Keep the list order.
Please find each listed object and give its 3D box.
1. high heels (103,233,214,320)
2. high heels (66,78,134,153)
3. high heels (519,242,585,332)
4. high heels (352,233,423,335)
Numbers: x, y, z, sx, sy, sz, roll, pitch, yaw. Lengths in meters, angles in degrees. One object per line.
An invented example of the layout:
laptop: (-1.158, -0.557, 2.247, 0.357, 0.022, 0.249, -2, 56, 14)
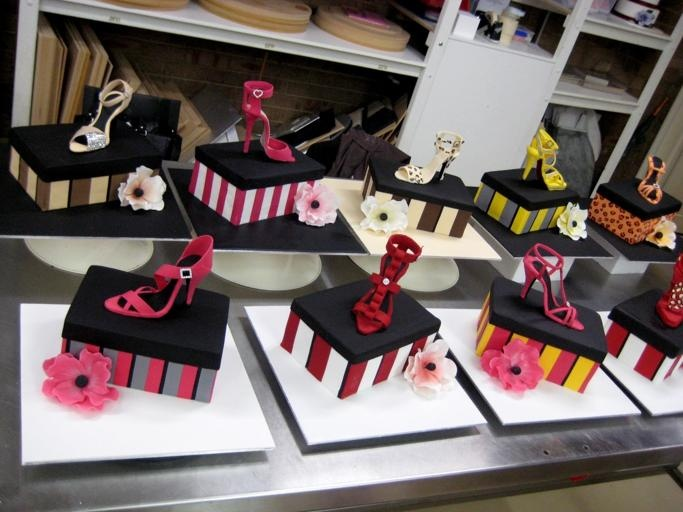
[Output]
high heels: (-0.313, 0.032, 0.869, 0.175, 0.130, 0.090, 1, 19, -33)
high heels: (-0.539, -0.340, 1.172, 0.078, 0.058, 0.236, 14, 59, 8)
high heels: (0.474, 0.066, 1.110, 0.076, 0.129, 0.172, -12, 33, -40)
high heels: (0.093, 0.047, 1.013, 0.073, 0.053, 0.257, 22, 55, 12)
